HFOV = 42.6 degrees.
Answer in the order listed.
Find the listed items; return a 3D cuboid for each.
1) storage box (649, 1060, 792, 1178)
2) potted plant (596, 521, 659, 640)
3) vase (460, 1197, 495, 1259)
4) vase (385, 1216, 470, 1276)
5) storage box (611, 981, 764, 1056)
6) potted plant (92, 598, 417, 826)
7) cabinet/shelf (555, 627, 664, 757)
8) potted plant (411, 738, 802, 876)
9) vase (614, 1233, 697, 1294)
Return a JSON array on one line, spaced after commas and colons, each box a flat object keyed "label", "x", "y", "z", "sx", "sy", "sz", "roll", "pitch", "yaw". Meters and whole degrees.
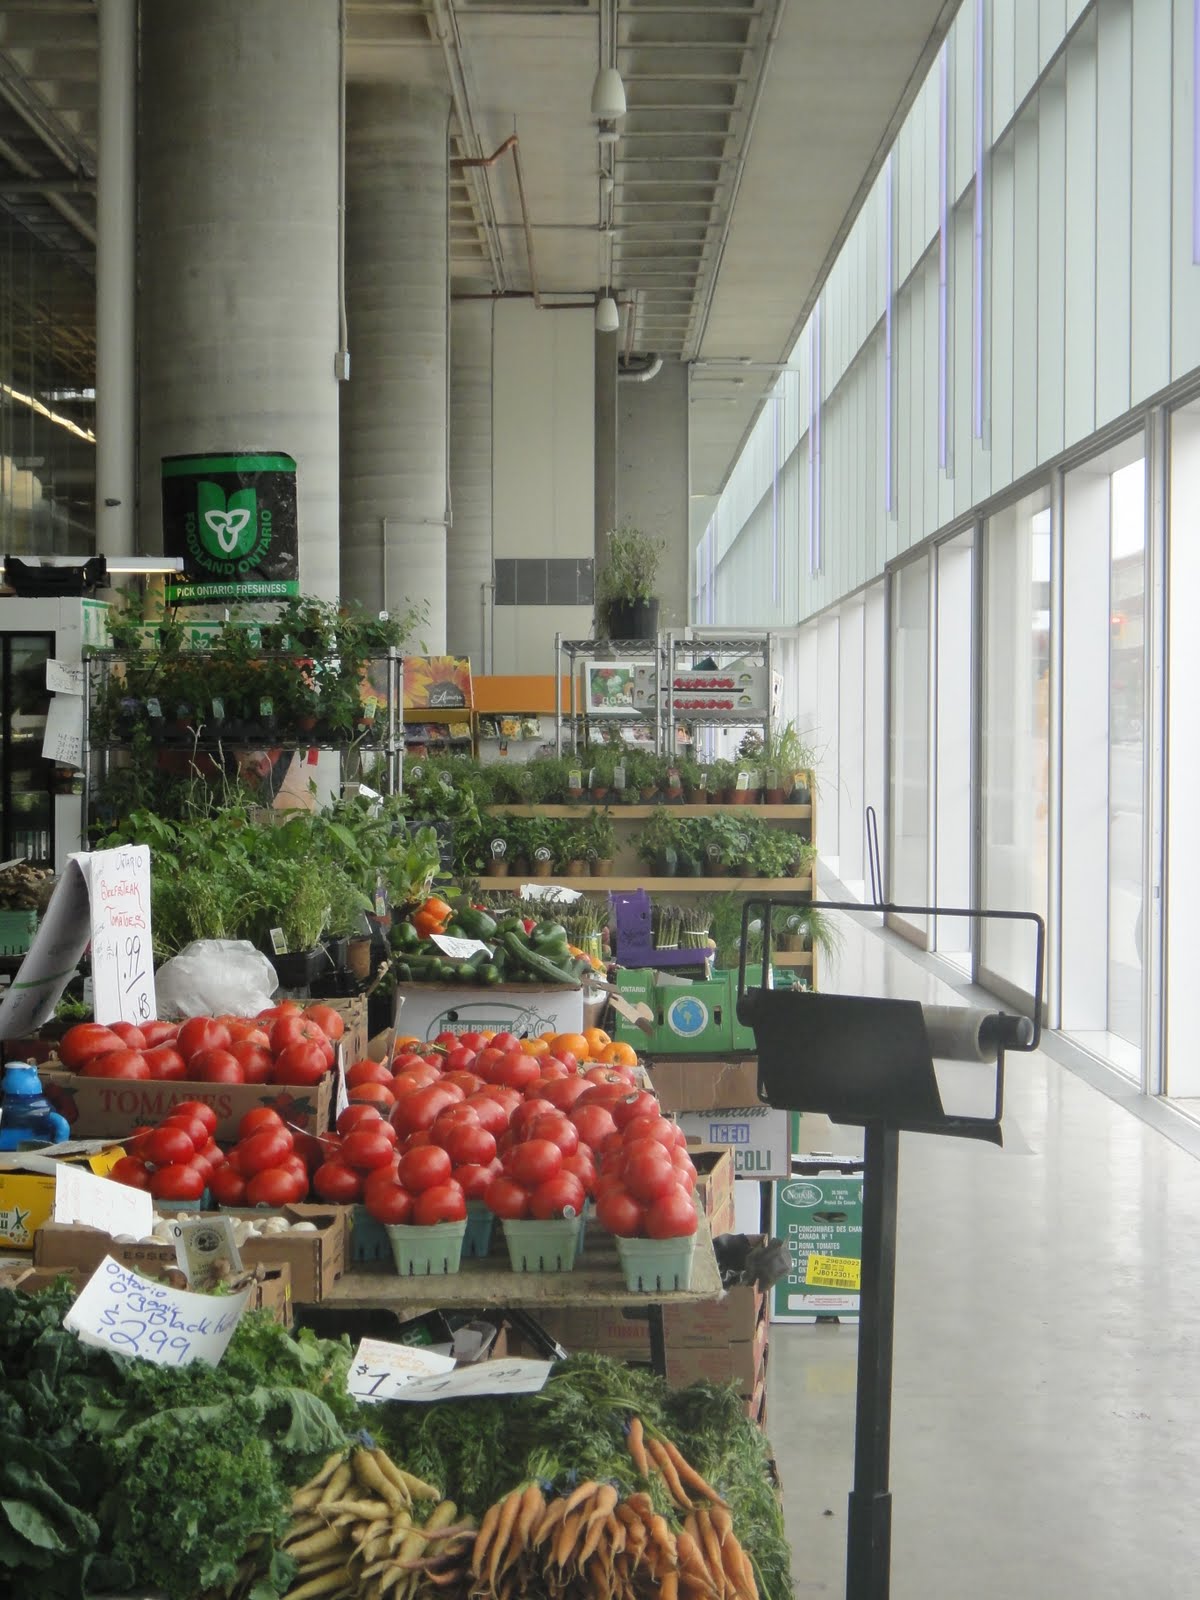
[{"label": "storage box", "x": 0.304, "y": 0.740, "z": 3.846, "sx": 0.450, "sy": 0.301, "sz": 0.474, "roll": 1, "pitch": -3, "yaw": 3}, {"label": "potted plant", "x": 0.183, "y": -1.347, "z": 10.045, "sx": 0.372, "sy": 0.684, "sz": 0.320, "roll": -4, "pitch": -9, "yaw": -5}, {"label": "vase", "x": -0.149, "y": 0.575, "z": 2.069, "sx": 0.066, "sy": 0.078, "sz": 0.069, "roll": 0, "pitch": -9, "yaw": -1}, {"label": "vase", "x": -0.222, "y": 0.568, "z": 1.966, "sx": 0.061, "sy": 0.049, "sz": 0.092, "roll": -1, "pitch": -10, "yaw": -3}, {"label": "storage box", "x": 0.225, "y": 0.543, "z": 3.827, "sx": 0.345, "sy": 0.223, "sz": 0.357, "roll": 0, "pitch": -4, "yaw": 0}, {"label": "potted plant", "x": -1.406, "y": -0.370, "z": 5.986, "sx": 1.006, "sy": 0.524, "sz": 0.860, "roll": 3, "pitch": -3, "yaw": -4}, {"label": "cabinet/shelf", "x": 0.088, "y": -0.642, "z": 9.593, "sx": 0.700, "sy": 0.818, "sz": 0.859, "roll": -2, "pitch": 1, "yaw": 9}, {"label": "potted plant", "x": 0.060, "y": 0.067, "z": 8.087, "sx": 2.095, "sy": 0.650, "sz": 0.884, "roll": 2, "pitch": 1, "yaw": 7}, {"label": "vase", "x": 0.072, "y": 0.574, "z": 1.916, "sx": 0.061, "sy": 0.050, "sz": 0.093, "roll": 0, "pitch": -10, "yaw": 2}]
